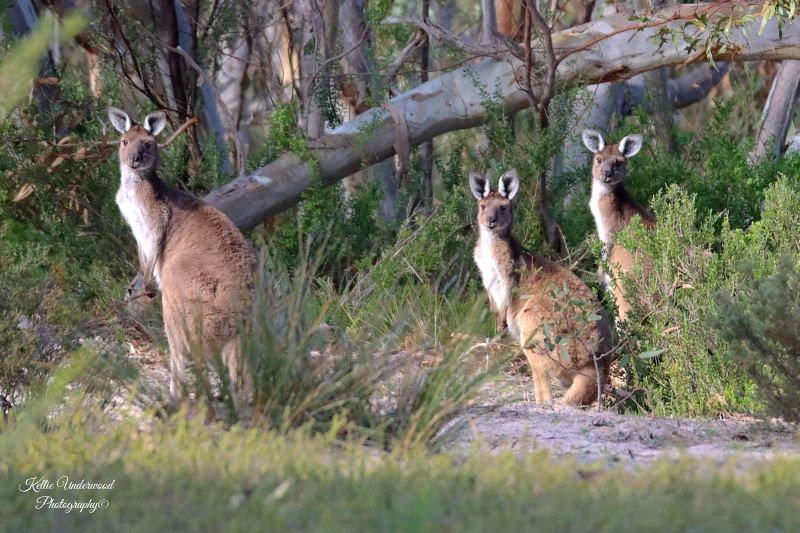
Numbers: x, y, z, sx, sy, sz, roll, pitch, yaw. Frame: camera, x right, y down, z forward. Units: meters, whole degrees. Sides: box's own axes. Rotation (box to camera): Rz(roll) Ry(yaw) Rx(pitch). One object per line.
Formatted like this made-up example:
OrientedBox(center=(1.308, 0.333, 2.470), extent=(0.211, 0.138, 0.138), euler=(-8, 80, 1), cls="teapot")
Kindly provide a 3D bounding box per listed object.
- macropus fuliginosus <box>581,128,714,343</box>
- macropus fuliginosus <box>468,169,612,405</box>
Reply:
OrientedBox(center=(2.374, -0.435, 10.348), extent=(2.062, 2.465, 0.825), euler=(4, 1, 33), cls="macropus fuliginosus")
OrientedBox(center=(1.369, 0.162, 8.974), extent=(1.089, 2.079, 1.885), euler=(-6, 10, -26), cls="macropus fuliginosus")
